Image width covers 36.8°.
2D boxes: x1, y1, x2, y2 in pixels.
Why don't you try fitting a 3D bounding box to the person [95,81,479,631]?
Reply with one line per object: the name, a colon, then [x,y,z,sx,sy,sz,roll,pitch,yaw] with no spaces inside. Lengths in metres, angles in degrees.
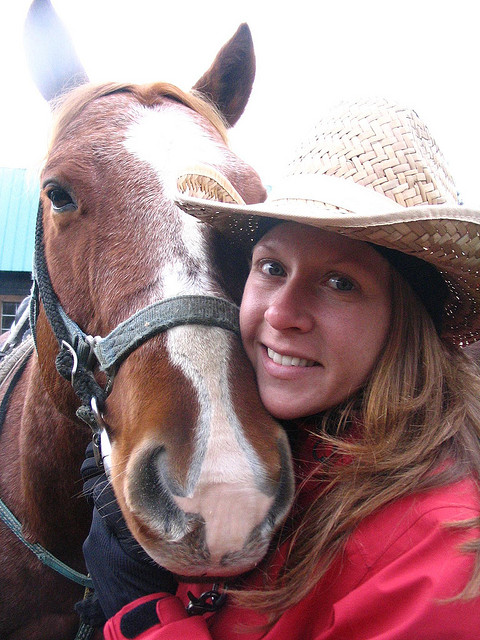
person: [0.122,0.104,1.717,0.928,1.226,0.684,-8,7,10]
